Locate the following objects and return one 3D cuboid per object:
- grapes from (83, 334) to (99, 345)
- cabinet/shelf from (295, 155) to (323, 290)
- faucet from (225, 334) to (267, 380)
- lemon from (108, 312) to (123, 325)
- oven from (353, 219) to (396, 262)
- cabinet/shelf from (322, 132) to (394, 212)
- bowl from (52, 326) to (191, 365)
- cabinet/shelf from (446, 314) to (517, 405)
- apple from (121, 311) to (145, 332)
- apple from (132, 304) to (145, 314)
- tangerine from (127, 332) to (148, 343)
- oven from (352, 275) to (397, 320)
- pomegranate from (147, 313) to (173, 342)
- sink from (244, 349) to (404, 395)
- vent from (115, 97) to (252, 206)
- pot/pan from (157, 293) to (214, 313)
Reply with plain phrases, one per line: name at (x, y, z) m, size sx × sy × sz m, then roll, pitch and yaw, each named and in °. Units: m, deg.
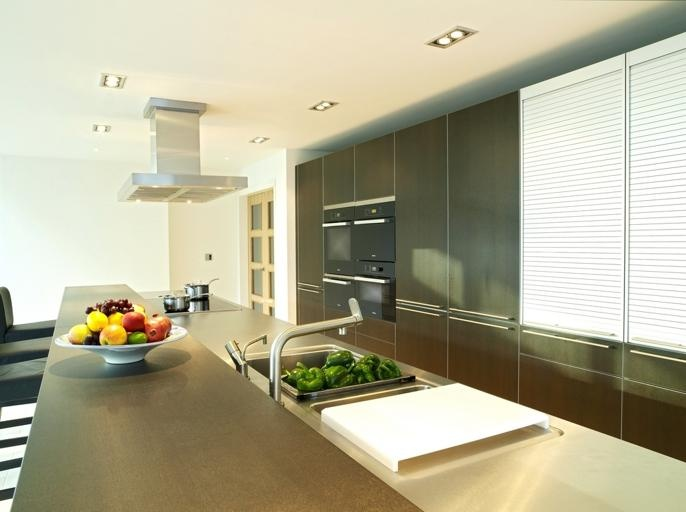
grapes at (-0.933, 0.305, 1.720) m, size 0.041 × 0.015 × 0.041 m, roll 3°, pitch 2°, yaw 37°
cabinet/shelf at (-0.414, -0.368, 5.700) m, size 0.199 × 1.560 × 0.686 m, roll -5°, pitch 4°, yaw -23°
faucet at (-0.365, 0.410, 1.860) m, size 0.143 × 0.202 × 0.038 m, roll -5°, pitch 23°, yaw -3°
lemon at (-0.870, 0.241, 1.787) m, size 0.047 × 0.057 × 0.047 m, roll -4°, pitch 2°, yaw 41°
oven at (0.374, -0.164, 4.663) m, size 0.363 × 0.441 × 0.631 m, roll 4°, pitch -4°, yaw -27°
cabinet/shelf at (0.168, -0.851, 4.841) m, size 0.289 × 0.469 × 0.962 m, roll 0°, pitch 1°, yaw -31°
bowl at (-0.832, 0.353, 1.747) m, size 0.234 × 0.056 × 0.241 m, roll 1°, pitch 1°, yaw 0°
cabinet/shelf at (0.947, 0.765, 3.602) m, size 0.652 × 0.588 × 0.374 m, roll 13°, pitch -18°, yaw -20°
apple at (-0.779, 0.246, 1.737) m, size 0.075 × 0.073 × 0.072 m, roll 3°, pitch -1°, yaw -4°
apple at (-0.820, 0.216, 1.872) m, size 0.063 × 0.033 × 0.062 m, roll 8°, pitch 2°, yaw -27°
tangerine at (-0.758, 0.306, 1.728) m, size 0.052 × 0.040 × 0.039 m, roll 9°, pitch -16°, yaw -4°
oven at (0.336, 0.426, 4.583) m, size 0.363 × 0.489 × 0.508 m, roll 3°, pitch -3°, yaw -32°
pomegranate at (-0.723, 0.284, 1.824) m, size 0.061 × 0.060 × 0.108 m, roll -3°, pitch 5°, yaw -12°
sink at (-0.024, 0.478, 1.885) m, size 0.331 × 0.099 × 0.327 m, roll -3°, pitch 7°, yaw -28°
vent at (-1.393, -0.939, 3.920) m, size 1.151 × 0.675 × 1.154 m, roll 5°, pitch 10°, yaw 12°
pot/pan at (-1.317, 0.330, 3.806) m, size 0.212 × 0.157 × 0.411 m, roll -2°, pitch 3°, yaw -42°
